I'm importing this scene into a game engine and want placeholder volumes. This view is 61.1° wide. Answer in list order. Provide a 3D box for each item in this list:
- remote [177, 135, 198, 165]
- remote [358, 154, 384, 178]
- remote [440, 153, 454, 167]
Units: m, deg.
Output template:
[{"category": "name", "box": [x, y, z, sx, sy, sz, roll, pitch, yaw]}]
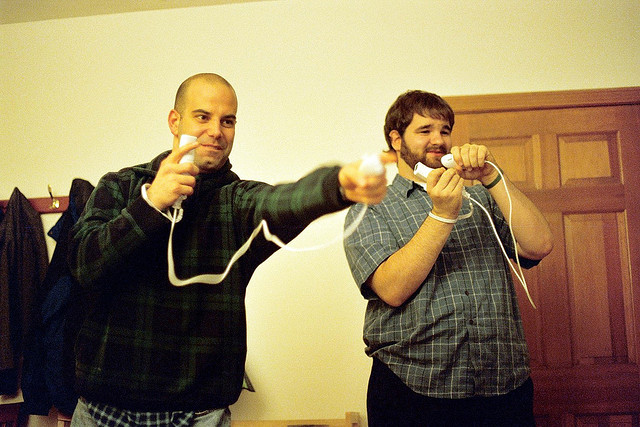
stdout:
[{"category": "remote", "box": [-0.635, -0.282, 2.601, 0.081, 0.168, 0.266, 4, -14, -14]}, {"category": "remote", "box": [0.205, -0.190, 2.144, 0.069, 0.090, 0.038, 6, 23, 13]}, {"category": "remote", "box": [0.632, -0.266, 2.682, 0.054, 0.058, 0.058, -6, 18, 36]}]
